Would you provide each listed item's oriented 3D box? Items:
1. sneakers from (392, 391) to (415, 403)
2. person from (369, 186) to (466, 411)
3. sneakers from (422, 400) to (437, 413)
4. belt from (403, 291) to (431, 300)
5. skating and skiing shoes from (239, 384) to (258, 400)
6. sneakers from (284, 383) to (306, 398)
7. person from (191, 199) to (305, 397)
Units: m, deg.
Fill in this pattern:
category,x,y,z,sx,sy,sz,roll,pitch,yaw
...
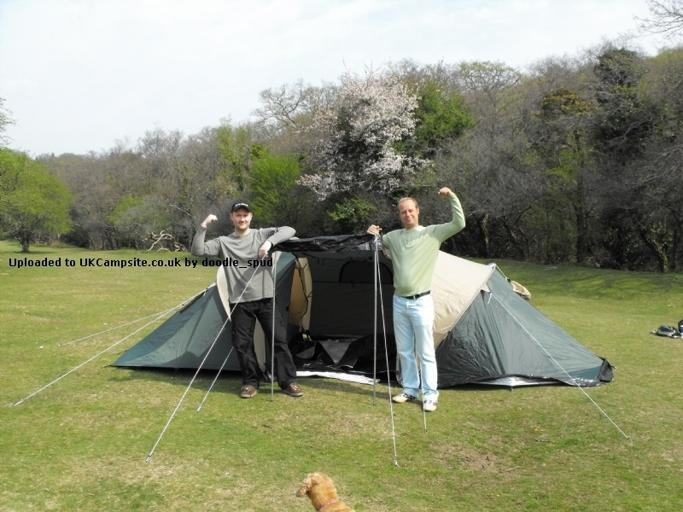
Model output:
category,x,y,z,sx,sy,sz,roll,pitch,yaw
sneakers,0.877,2.005,8.781,0.340,0.165,0.139,6,-3,-17
person,1.075,0.573,8.510,1.061,3.020,0.761,3,11,15
sneakers,1.228,2.042,8.440,0.220,0.134,0.168,-1,11,-5
belt,1.042,0.528,8.431,0.342,0.124,0.098,0,11,0
skating and skiing shoes,-1.346,1.940,8.869,0.118,0.144,0.303,-1,-10,8
sneakers,-0.682,1.948,8.974,0.324,0.161,0.146,1,2,26
person,-1.304,0.617,8.915,1.474,2.807,0.854,0,11,-1
